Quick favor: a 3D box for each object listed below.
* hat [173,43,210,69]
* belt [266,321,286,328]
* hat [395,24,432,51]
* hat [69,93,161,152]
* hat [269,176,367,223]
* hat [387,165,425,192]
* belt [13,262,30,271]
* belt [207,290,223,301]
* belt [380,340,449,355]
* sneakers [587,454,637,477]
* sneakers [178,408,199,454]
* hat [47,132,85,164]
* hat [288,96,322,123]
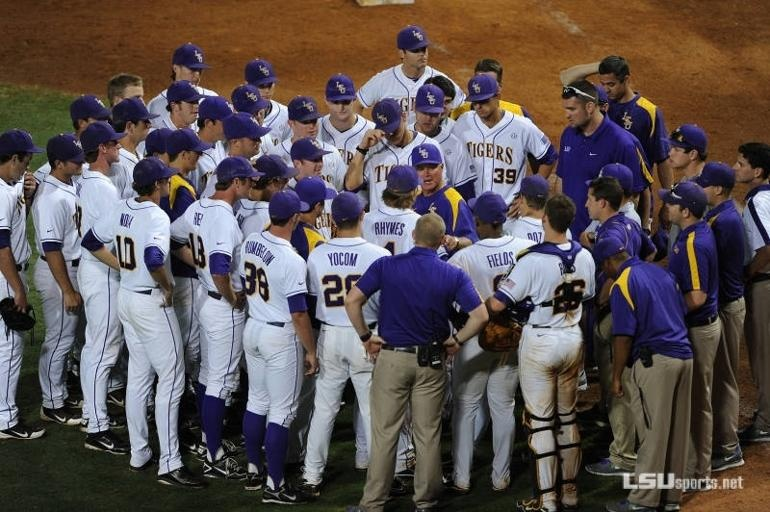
[{"bbox_3d":[-3.284,-3.263,17.834,0.614,0.327,0.439,20,24,29],"label":"hat"},{"bbox_3d":[-1.455,0.888,14.567,0.253,0.069,0.035,0,5,-1],"label":"belt"},{"bbox_3d":[0.366,-3.533,17.824,0.401,0.293,0.529,-24,26,-23],"label":"hat"},{"bbox_3d":[-4.378,-2.168,16.819,1.043,0.560,0.639,-24,14,0],"label":"hat"},{"bbox_3d":[-0.787,-0.713,14.662,0.972,0.486,0.569,-3,30,3],"label":"hat"},{"bbox_3d":[0.248,-1.058,14.903,0.457,0.366,0.244,0,5,-8],"label":"hat"},{"bbox_3d":[-5.345,0.129,16.001,0.157,0.090,0.195,-1,3,-12],"label":"belt"},{"bbox_3d":[-2.353,0.520,14.988,0.134,0.091,0.131,6,3,21],"label":"belt"},{"bbox_3d":[0.370,1.143,14.177,0.803,0.149,0.129,1,5,6],"label":"belt"},{"bbox_3d":[3.142,2.862,15.145,0.725,0.278,0.247,0,4,9],"label":"sneakers"},{"bbox_3d":[-2.839,2.488,15.789,0.243,0.281,0.670,1,39,-10],"label":"sneakers"},{"bbox_3d":[-4.634,-1.559,15.799,0.516,0.423,0.267,-1,5,-14],"label":"hat"},{"bbox_3d":[-1.303,-2.223,16.605,0.359,0.261,0.474,-17,24,-31],"label":"hat"}]
